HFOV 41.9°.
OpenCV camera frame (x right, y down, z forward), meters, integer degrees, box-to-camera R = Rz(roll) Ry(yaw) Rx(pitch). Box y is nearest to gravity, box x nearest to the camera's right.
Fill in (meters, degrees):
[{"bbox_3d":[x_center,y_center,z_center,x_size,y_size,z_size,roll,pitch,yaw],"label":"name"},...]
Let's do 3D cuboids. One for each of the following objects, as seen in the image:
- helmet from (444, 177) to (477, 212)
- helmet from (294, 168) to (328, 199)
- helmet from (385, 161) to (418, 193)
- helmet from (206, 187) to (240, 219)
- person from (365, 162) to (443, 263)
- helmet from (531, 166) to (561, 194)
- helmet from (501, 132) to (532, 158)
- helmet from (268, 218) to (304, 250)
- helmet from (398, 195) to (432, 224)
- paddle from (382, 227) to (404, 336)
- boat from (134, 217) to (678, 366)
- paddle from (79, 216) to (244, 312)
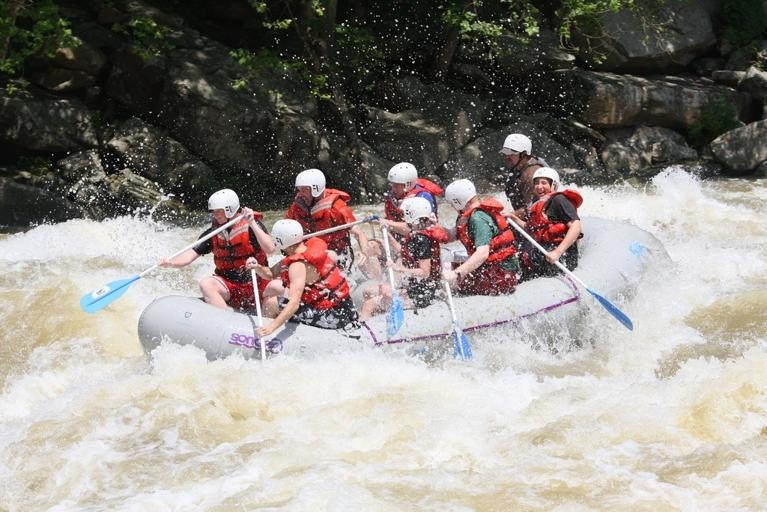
[{"bbox_3d":[1.166,-0.975,15.457,0.537,0.433,0.376,0,24,15],"label":"helmet"},{"bbox_3d":[-1.152,-1.186,15.896,0.478,0.434,0.371,-2,3,-21],"label":"helmet"},{"bbox_3d":[0.311,-1.301,16.017,0.490,0.405,0.361,-25,36,-4],"label":"helmet"},{"bbox_3d":[-2.414,-0.811,15.246,0.479,0.382,0.349,-5,4,-29],"label":"helmet"},{"bbox_3d":[0.596,-0.804,16.132,1.007,1.301,1.016,-14,2,3],"label":"person"},{"bbox_3d":[2.579,-1.217,15.913,0.362,0.358,0.455,-14,-11,23],"label":"helmet"},{"bbox_3d":[2.237,-1.848,16.533,0.532,0.287,0.385,-4,12,-30],"label":"helmet"},{"bbox_3d":[-1.367,-0.323,14.523,0.468,0.395,0.350,8,36,11],"label":"helmet"},{"bbox_3d":[0.476,-0.714,14.982,0.332,0.346,0.451,-19,29,-40],"label":"helmet"},{"bbox_3d":[0.139,0.422,15.207,0.154,0.371,1.903,19,33,-25],"label":"paddle"},{"bbox_3d":[0.477,0.767,15.149,6.174,1.216,2.954,-8,20,-3],"label":"boat"},{"bbox_3d":[-3.649,0.173,16.354,2.887,0.194,0.456,-27,60,-8],"label":"paddle"}]
